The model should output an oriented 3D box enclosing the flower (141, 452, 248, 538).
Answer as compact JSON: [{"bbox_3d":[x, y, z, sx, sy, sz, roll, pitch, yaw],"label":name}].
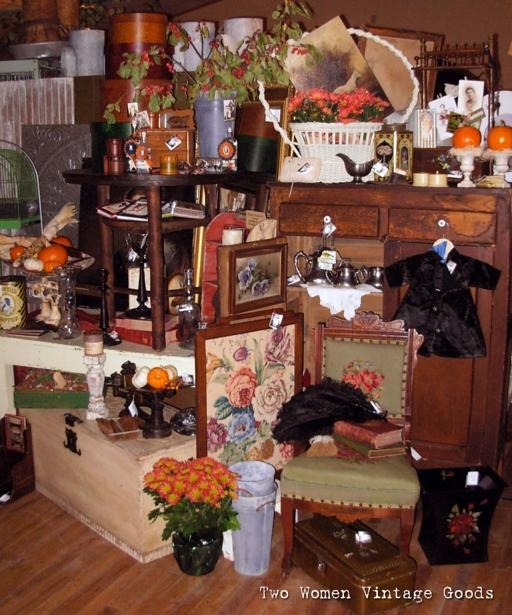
[{"bbox_3d":[-0.260,0.760,2.142,0.382,0.342,0.305,-1,8,-3],"label":"flower"}]

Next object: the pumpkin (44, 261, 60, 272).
[{"bbox_3d":[-1.023,-0.203,2.777,0.076,0.057,0.066,-4,9,-25],"label":"pumpkin"}]

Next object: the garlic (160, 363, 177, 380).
[{"bbox_3d":[-0.395,0.289,2.502,0.048,0.067,0.073,-8,43,-10],"label":"garlic"}]

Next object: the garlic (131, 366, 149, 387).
[{"bbox_3d":[-0.511,0.305,2.518,0.049,0.084,0.084,36,32,-15],"label":"garlic"}]

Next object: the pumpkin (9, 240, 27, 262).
[{"bbox_3d":[-1.264,-0.293,2.944,0.081,0.097,0.259,-4,8,-23],"label":"pumpkin"}]

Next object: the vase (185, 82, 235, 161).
[{"bbox_3d":[-0.218,-0.920,2.778,0.359,0.357,0.279,-1,15,-6],"label":"vase"}]

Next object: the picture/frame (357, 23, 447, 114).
[{"bbox_3d":[0.697,-1.201,2.818,0.521,0.405,0.098,0,0,-5],"label":"picture/frame"}]

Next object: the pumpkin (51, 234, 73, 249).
[{"bbox_3d":[-1.097,-0.374,3.141,0.104,0.083,0.097,-4,20,-24],"label":"pumpkin"}]

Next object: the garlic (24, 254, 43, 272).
[{"bbox_3d":[-1.102,-0.221,2.757,0.079,0.039,0.076,4,28,-39],"label":"garlic"}]

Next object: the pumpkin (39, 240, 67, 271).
[{"bbox_3d":[-1.035,-0.263,2.836,0.157,0.134,0.146,-2,8,7],"label":"pumpkin"}]

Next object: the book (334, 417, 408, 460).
[{"bbox_3d":[0.425,0.506,2.188,0.167,0.059,0.191,-2,-1,-27],"label":"book"}]

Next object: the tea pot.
[{"bbox_3d":[0.383,-0.173,2.615,0.370,0.122,0.208,6,8,10],"label":"tea pot"}]

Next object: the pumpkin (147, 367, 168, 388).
[{"bbox_3d":[-0.425,0.309,2.470,0.100,0.084,0.088,-10,-19,-4],"label":"pumpkin"}]

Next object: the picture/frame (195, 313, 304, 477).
[{"bbox_3d":[-0.043,0.372,2.366,0.724,0.822,0.069,-13,23,-38],"label":"picture/frame"}]

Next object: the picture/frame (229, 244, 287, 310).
[{"bbox_3d":[-0.001,-0.140,2.404,0.025,0.228,0.310,11,15,37],"label":"picture/frame"}]
